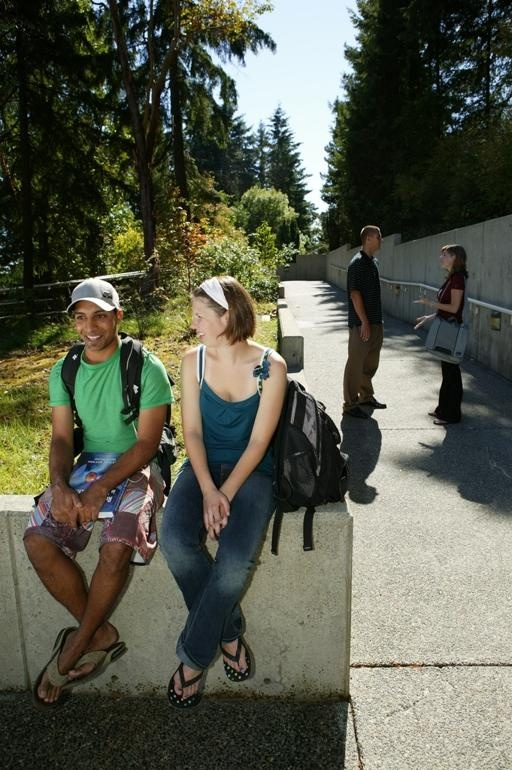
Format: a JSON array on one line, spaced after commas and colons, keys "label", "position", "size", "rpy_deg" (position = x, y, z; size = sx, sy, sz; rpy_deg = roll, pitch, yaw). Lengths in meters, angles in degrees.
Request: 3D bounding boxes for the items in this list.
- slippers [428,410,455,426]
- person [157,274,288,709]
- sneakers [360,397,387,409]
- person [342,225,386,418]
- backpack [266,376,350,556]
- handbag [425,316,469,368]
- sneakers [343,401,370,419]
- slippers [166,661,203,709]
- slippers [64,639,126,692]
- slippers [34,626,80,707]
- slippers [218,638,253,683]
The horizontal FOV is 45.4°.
[{"label": "slippers", "position": [1.973, 0.366, 6.596], "size": [0.094, 0.114, 0.271], "rpy_deg": [-15, 4, -35]}, {"label": "person", "position": [-0.116, 0.386, 2.527], "size": [0.508, 1.620, 0.897], "rpy_deg": [-2, 11, 3]}, {"label": "sneakers", "position": [1.389, 0.190, 7.182], "size": [0.319, 0.138, 0.123], "rpy_deg": [3, 9, 24]}, {"label": "person", "position": [1.204, -0.714, 6.830], "size": [0.466, 2.087, 0.971], "rpy_deg": [0, 11, 12]}, {"label": "backpack", "position": [0.216, 0.322, 2.514], "size": [0.308, 0.625, 0.472], "rpy_deg": [-1, 11, 7]}, {"label": "handbag", "position": [1.969, -0.459, 6.337], "size": [0.392, 0.472, 0.290], "rpy_deg": [5, 13, 32]}, {"label": "sneakers", "position": [1.114, 0.287, 6.880], "size": [0.130, 0.158, 0.363], "rpy_deg": [-8, 5, -35]}, {"label": "slippers", "position": [-0.267, 1.146, 2.289], "size": [0.092, 0.053, 0.228], "rpy_deg": [18, 51, -8]}, {"label": "slippers", "position": [-0.606, 1.068, 2.362], "size": [0.297, 0.079, 0.106], "rpy_deg": [-37, -4, -42]}, {"label": "slippers", "position": [-0.752, 1.060, 2.324], "size": [0.115, 0.298, 0.078], "rpy_deg": [23, 18, -6]}, {"label": "slippers", "position": [-0.067, 1.056, 2.413], "size": [0.093, 0.246, 0.058], "rpy_deg": [-18, -5, 25]}]
